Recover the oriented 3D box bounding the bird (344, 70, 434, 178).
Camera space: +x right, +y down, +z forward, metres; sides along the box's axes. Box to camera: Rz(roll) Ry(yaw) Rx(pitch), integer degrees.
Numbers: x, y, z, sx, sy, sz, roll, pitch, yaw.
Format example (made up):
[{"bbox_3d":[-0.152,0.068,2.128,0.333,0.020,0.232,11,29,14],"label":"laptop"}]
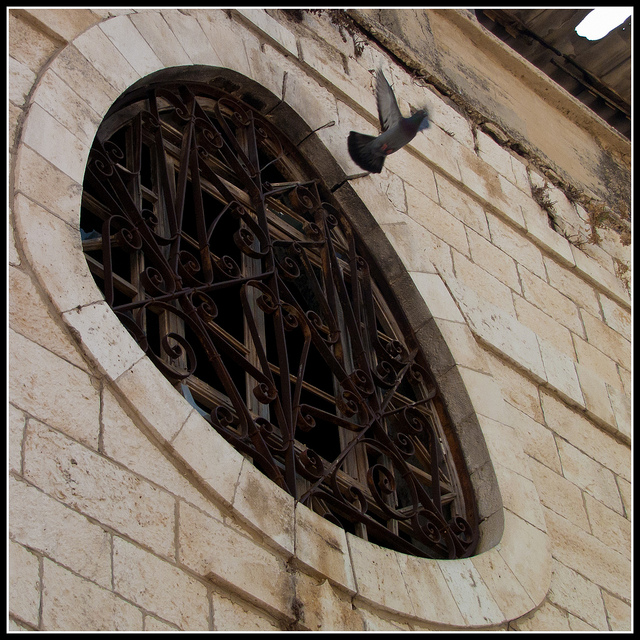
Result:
[{"bbox_3d":[0.405,-1.071,12.656,0.630,0.509,0.311,56,36,-32],"label":"bird"}]
